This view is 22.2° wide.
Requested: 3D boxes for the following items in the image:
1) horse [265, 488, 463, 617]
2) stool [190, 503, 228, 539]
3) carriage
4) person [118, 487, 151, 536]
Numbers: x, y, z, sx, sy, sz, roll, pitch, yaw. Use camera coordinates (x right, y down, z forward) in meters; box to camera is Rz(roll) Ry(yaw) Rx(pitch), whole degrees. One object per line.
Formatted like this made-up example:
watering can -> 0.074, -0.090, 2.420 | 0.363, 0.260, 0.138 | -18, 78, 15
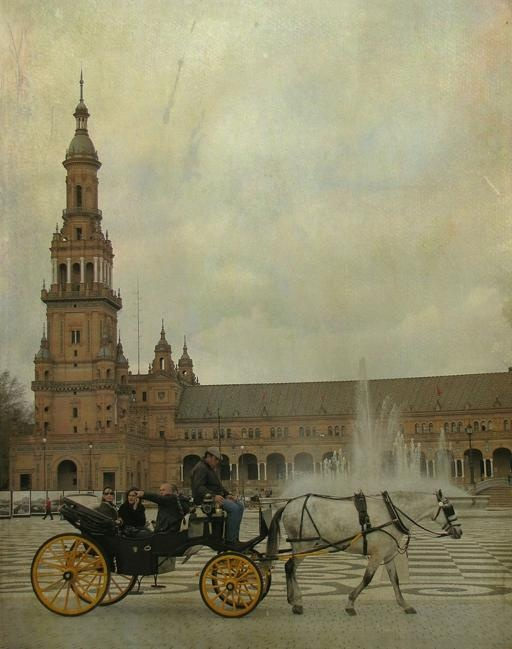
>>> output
horse -> 1.374, 2.995, 17.234 | 2.675, 1.609, 0.786 | -2, -13, 12
stool -> -0.641, 2.573, 17.021 | 0.526, 0.478, 0.378 | -2, -3, 2
carriage -> -0.212, 3.085, 17.592 | 5.864, 1.776, 1.691 | -1, -5, 2
person -> -1.769, 2.652, 18.578 | 0.489, 0.796, 0.603 | 6, -12, -38
